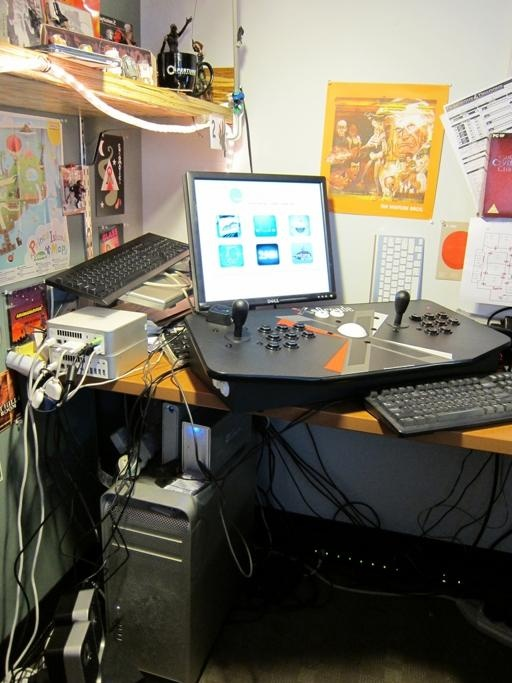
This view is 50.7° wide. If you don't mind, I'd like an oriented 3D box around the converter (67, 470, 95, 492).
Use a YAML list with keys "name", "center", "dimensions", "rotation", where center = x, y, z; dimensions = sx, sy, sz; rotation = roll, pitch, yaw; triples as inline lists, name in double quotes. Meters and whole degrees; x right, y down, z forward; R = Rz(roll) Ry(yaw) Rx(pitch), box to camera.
- name: "converter"
  center: [-0.486, 0.383, 1.493]
  dimensions: [0.021, 0.072, 0.078]
  rotation: [-49, 37, -9]

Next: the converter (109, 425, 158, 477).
- name: "converter"
  center: [-0.302, 0.272, 1.265]
  dimensions: [0.085, 0.113, 0.119]
  rotation: [9, 21, 16]
